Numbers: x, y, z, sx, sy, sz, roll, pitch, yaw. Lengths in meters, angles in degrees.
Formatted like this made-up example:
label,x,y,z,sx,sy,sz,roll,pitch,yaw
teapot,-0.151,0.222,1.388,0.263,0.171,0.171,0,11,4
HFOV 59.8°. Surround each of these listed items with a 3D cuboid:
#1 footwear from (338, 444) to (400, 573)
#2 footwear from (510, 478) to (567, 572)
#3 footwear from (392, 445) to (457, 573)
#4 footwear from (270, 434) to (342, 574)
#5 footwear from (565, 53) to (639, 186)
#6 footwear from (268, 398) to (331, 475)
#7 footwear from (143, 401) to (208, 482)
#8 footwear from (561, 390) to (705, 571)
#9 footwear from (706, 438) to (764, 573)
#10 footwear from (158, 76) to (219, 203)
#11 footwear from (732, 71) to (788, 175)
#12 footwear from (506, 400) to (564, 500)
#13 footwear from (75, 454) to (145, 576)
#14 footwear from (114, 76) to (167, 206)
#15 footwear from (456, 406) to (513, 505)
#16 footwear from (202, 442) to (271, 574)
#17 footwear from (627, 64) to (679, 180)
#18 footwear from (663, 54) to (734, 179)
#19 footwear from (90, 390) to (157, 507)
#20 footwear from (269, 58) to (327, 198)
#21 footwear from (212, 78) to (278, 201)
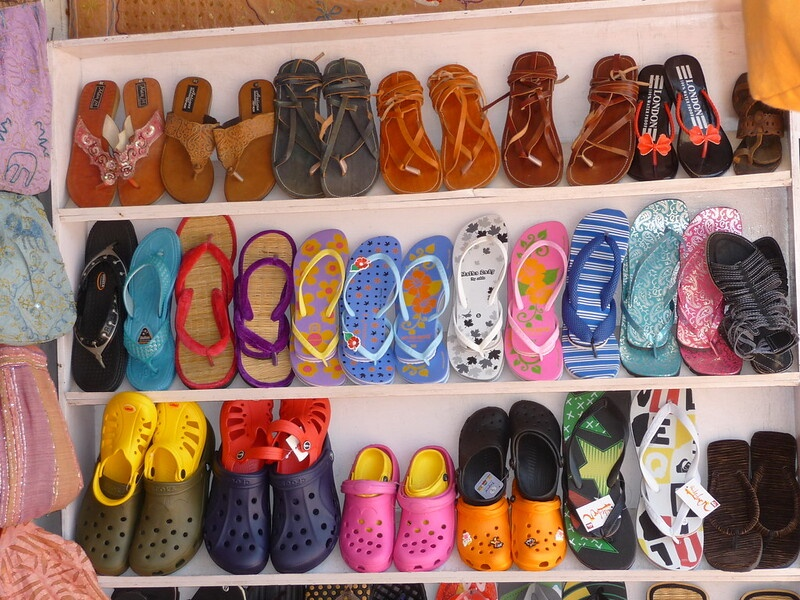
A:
label,x,y,z,sx,sy,sz,roll,pitch,yaw
footwear,-0.111,0.681,2.362,0.174,0.172,0.486,-2,30,8
footwear,0.464,0.706,2.317,0.171,0.385,0.134,3,-48,2
footwear,0.083,0.693,2.321,0.200,0.370,0.184,-1,-1,8
footwear,-0.319,0.666,2.286,0.161,0.437,0.148,-3,-17,5
footwear,0.663,-0.580,2.260,0.269,0.453,0.170,-1,-1,-19
footwear,-0.341,0.416,2.346,0.124,0.325,0.102,-2,-5,19
footwear,-0.758,0.471,2.348,0.143,0.300,0.104,7,-2,-1
footwear,0.801,0.585,2.342,0.407,0.604,0.135,0,-12,14
footwear,1.101,0.670,2.296,0.174,0.378,0.225,-2,-1,23
footwear,-0.719,-0.516,2.333,0.151,0.467,0.107,1,-12,-3
footwear,1.135,-0.572,2.212,0.167,0.358,0.135,-3,-2,44
footwear,0.465,0.509,2.367,0.158,0.320,0.099,3,-4,10
footwear,-0.974,0.709,2.353,0.155,0.457,0.155,1,-12,-3
footwear,-0.883,-0.520,2.350,0.154,0.457,0.106,-3,-3,-5
footwear,0.286,0.520,2.373,0.142,0.315,0.096,2,-6,10
footwear,-0.543,0.677,2.315,0.146,0.430,0.162,0,-17,1
footwear,0.851,-0.575,2.284,0.152,0.504,0.066,4,-28,18
footwear,0.962,-0.578,2.239,0.153,0.463,0.063,-14,-26,16
footwear,-0.906,0.447,2.303,0.160,0.444,0.138,10,1,-11
footwear,-0.337,-0.544,2.287,0.164,0.487,0.074,0,-6,1
footwear,-0.516,-0.534,2.335,0.201,0.427,0.160,-1,-1,2
